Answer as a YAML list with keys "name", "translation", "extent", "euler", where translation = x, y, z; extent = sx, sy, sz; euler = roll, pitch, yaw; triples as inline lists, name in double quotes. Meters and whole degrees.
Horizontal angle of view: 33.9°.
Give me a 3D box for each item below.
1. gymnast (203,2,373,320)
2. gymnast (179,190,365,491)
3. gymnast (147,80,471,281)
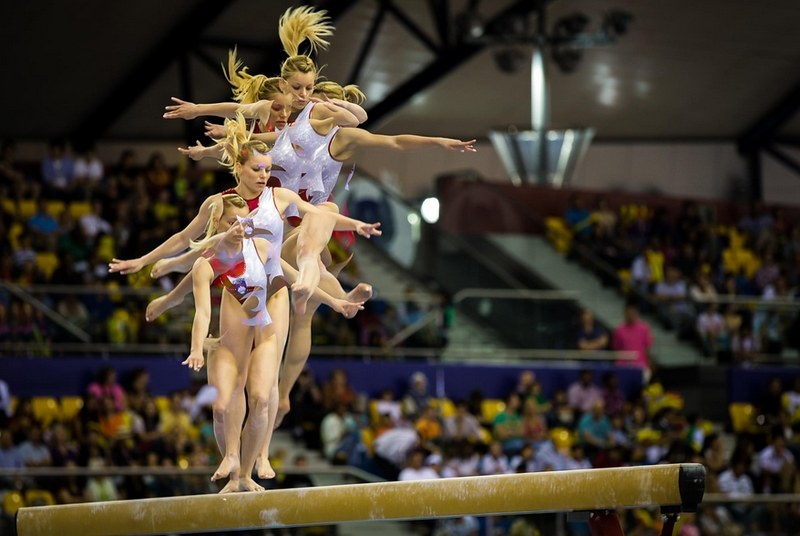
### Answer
- name: "gymnast"
  translation: [-1.188, -1.136, 13.969]
  extent: [1.048, 3.173, 1.627]
  euler: [0, -2, -8]
- name: "gymnast"
  translation: [-1.692, 0.765, 13.482]
  extent: [1.013, 3.020, 0.418]
  euler: [5, -1, -10]
- name: "gymnast"
  translation: [-1.252, -1.091, 16.743]
  extent: [3.146, 1.116, 1.390]
  euler: [9, 32, -5]
